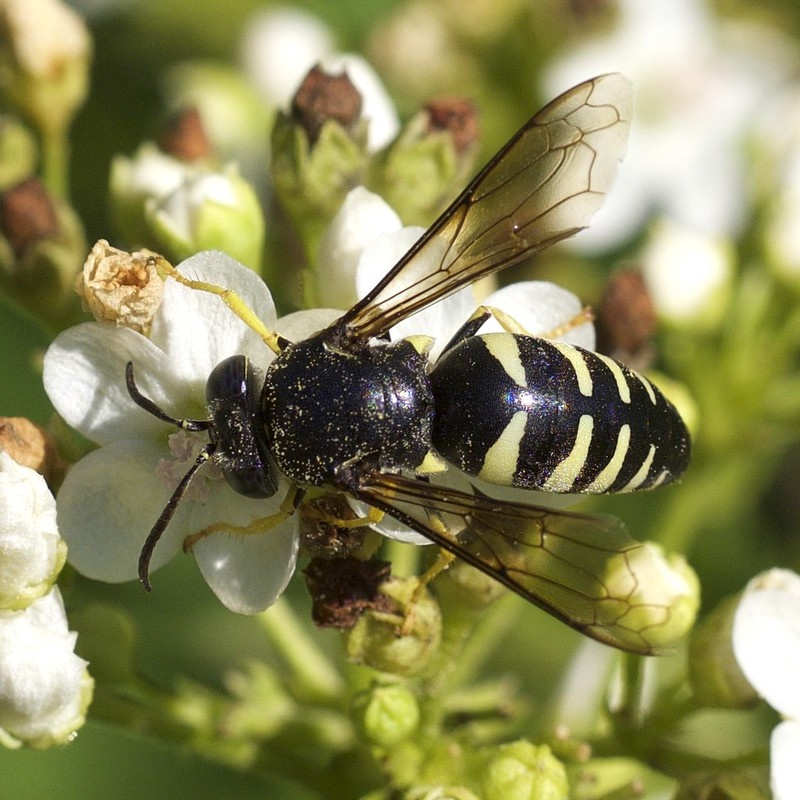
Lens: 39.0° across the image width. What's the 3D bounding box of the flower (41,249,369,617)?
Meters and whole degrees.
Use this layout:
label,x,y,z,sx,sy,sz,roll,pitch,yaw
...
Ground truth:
label,x,y,z,sx,sy,sz,roll,pitch,yaw
flower,-0.227,0.032,1.172,0.310,0.335,0.205,21,23,-11
